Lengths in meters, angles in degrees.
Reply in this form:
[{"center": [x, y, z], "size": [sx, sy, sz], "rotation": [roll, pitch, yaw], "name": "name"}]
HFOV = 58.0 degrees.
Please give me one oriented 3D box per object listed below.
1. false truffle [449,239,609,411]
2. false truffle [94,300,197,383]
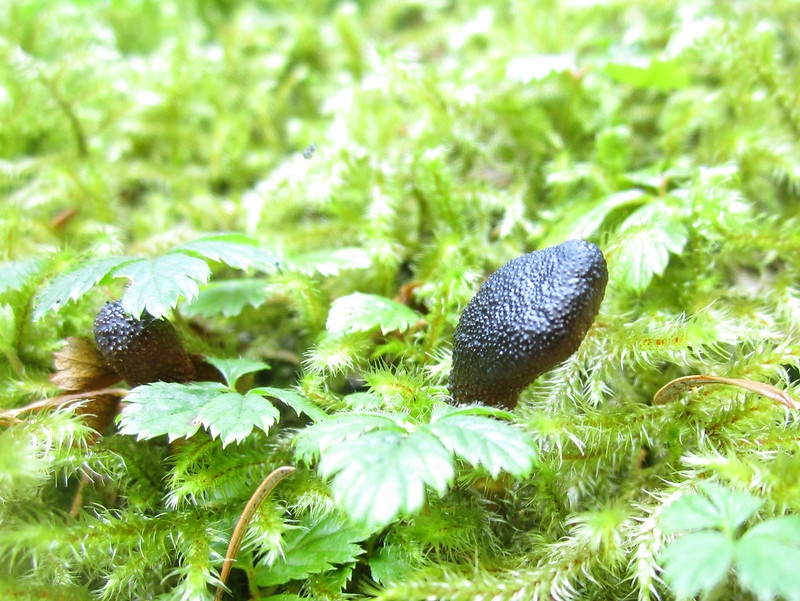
[{"center": [0.395, 0.039, 2.381], "size": [0.372, 0.160, 0.607], "rotation": [33, 65, 31], "name": "false truffle"}, {"center": [-0.862, 0.125, 2.531], "size": [0.301, 0.336, 0.267], "rotation": [10, 102, 44], "name": "false truffle"}]
